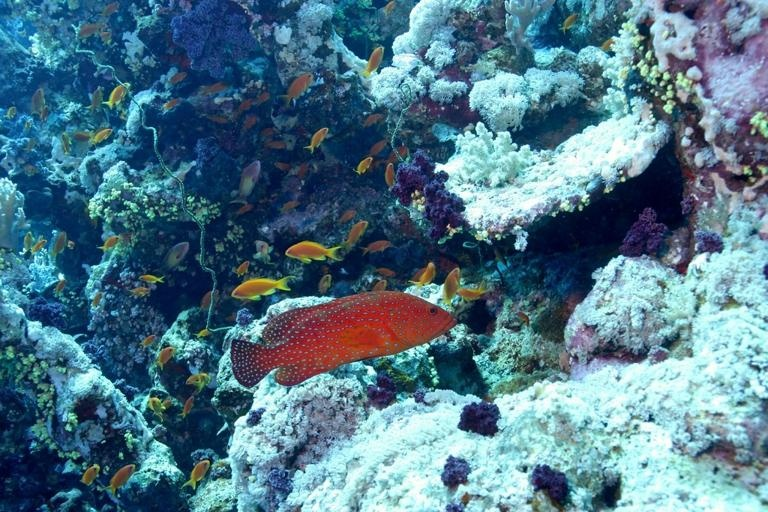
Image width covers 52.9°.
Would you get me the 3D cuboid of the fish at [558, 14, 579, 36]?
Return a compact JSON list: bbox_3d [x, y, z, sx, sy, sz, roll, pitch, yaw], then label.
[{"bbox_3d":[3.875,-4.828,16.063,0.210,0.108,0.490,18,86,46],"label":"fish"}]
